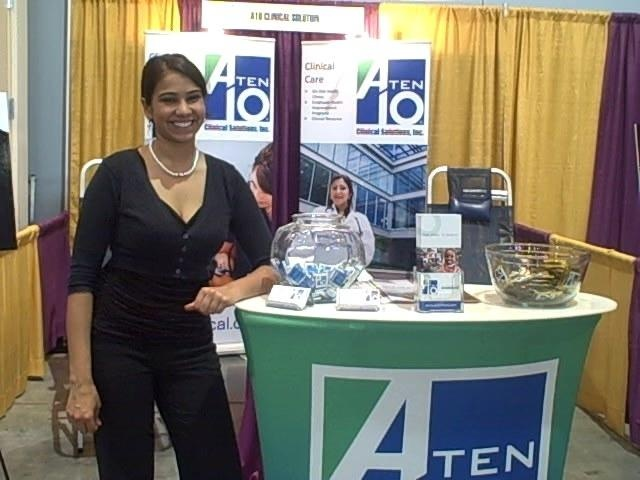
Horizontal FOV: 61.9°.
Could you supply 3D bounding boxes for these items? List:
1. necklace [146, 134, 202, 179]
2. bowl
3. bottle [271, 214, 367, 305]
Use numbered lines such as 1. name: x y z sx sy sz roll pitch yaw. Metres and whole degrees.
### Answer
1. necklace: -0.493 -0.280 1.826 0.120 0.160 0.026 -12 10 -3
2. bowl: 0.765 0.125 1.978 0.309 0.200 0.307 1 8 0
3. bottle: 0.025 0.085 2.063 0.330 0.344 0.332 -4 -1 25
